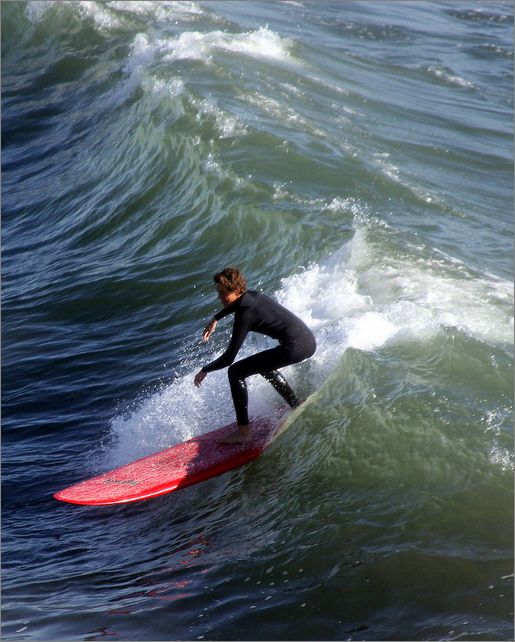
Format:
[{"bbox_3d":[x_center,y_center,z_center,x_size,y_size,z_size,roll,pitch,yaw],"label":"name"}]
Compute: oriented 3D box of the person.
[{"bbox_3d":[-0.179,0.268,7.258,1.018,1.017,1.069,29,67,3],"label":"person"}]
